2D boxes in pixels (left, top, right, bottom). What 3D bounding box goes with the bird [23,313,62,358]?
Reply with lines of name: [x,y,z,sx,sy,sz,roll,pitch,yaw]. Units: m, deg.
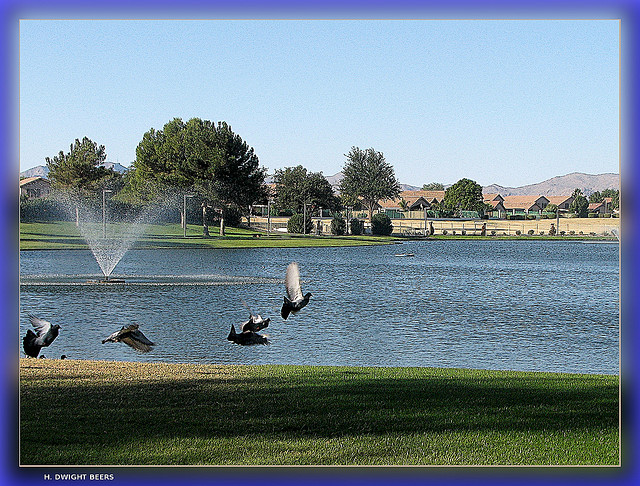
bird: [-6.902,2.280,30.060,0.776,1.156,1.410,0,4,-14]

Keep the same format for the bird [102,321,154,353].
bird: [-4.333,2.173,28.329,0.921,0.698,0.756,5,6,41]

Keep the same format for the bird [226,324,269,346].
bird: [-1.872,2.305,30.793,1.403,0.677,0.486,3,-4,-13]

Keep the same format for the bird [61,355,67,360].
bird: [-6.655,2.968,31.623,0.072,0.174,0.181,7,3,-36]
